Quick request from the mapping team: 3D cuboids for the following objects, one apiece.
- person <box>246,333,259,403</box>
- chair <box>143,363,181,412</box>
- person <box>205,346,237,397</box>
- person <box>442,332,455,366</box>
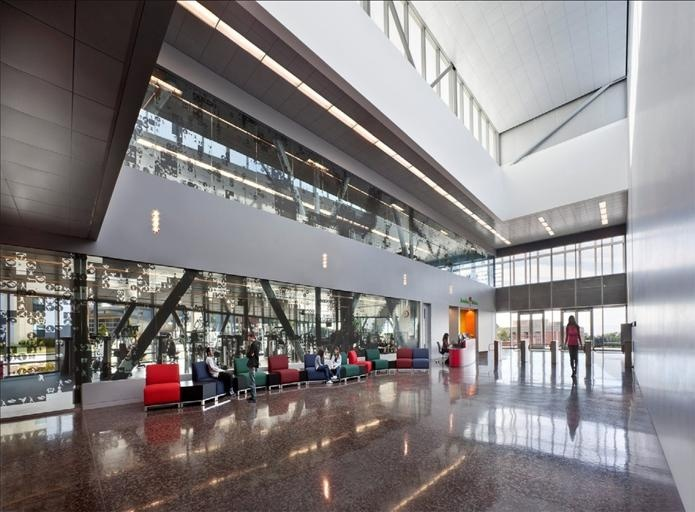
[{"bbox_3d":[-2.626,3.147,12.838,0.443,1.929,0.665,-1,-37,-8],"label":"person"},{"bbox_3d":[-4.624,3.212,11.616,0.988,0.988,1.088,-2,-6,-5],"label":"chair"},{"bbox_3d":[-3.458,3.183,12.784,0.851,1.044,0.479,0,0,-20],"label":"person"},{"bbox_3d":[4.537,4.331,21.464,0.400,1.376,2.518,0,-1,11],"label":"person"}]
